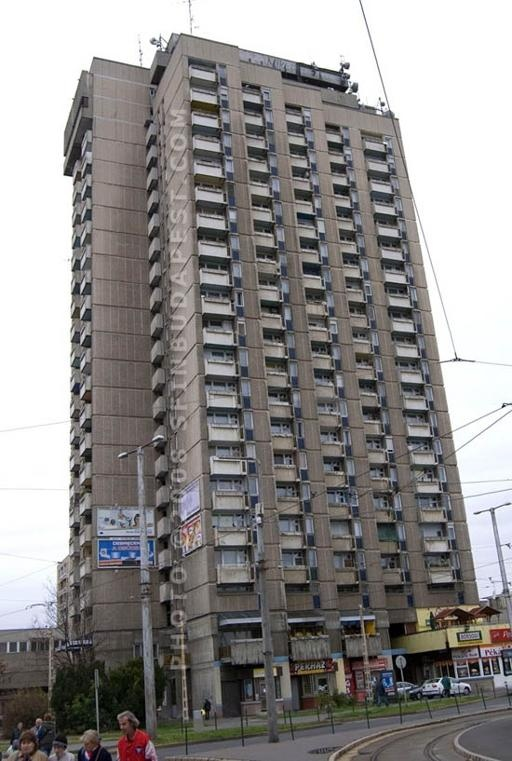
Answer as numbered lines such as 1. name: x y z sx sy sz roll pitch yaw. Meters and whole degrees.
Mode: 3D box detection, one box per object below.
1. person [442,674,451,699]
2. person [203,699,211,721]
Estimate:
1. person: 12.277 19.975 51.286 0.548 1.102 0.692 -9 -20 5
2. person: -3.351 22.202 53.316 0.538 1.154 1.957 -5 -21 -5
